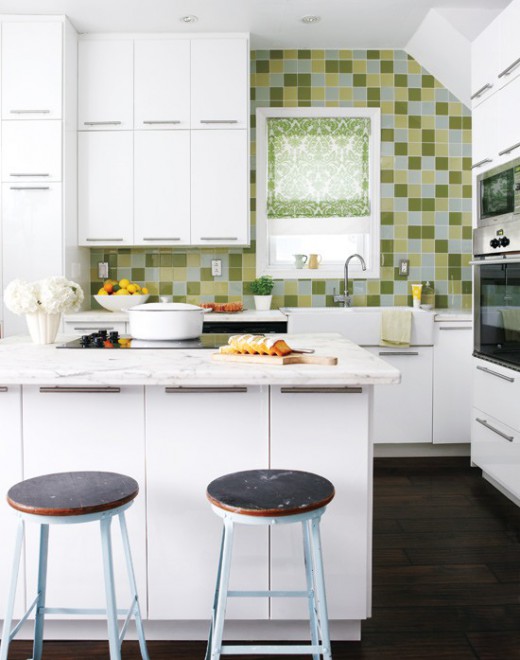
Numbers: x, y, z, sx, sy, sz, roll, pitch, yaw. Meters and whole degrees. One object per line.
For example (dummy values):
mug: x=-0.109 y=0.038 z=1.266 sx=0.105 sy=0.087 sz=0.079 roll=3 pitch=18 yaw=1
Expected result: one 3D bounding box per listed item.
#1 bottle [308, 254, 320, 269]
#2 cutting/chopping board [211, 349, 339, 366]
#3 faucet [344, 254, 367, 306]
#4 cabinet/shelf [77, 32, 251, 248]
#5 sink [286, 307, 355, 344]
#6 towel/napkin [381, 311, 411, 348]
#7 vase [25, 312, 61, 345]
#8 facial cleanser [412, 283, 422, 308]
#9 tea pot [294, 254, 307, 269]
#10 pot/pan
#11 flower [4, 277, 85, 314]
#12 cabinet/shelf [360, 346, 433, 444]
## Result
bottle: x=0.382 y=-0.482 z=4.414 sx=0.083 sy=0.106 sz=0.084 roll=0 pitch=4 yaw=0
cutting/chopping board: x=0.038 y=0.083 z=1.767 sx=0.360 sy=0.025 sz=0.114 roll=1 pitch=4 yaw=8
faucet: x=0.656 y=-0.350 z=4.316 sx=0.157 sy=0.375 sz=0.379 roll=1 pitch=4 yaw=9
cabinet/shelf: x=-0.606 y=-1.265 z=3.925 sx=1.358 sy=1.502 sz=0.583 roll=0 pitch=2 yaw=-1
sink: x=0.369 y=-0.025 z=3.744 sx=0.405 sy=0.164 sz=0.089 roll=0 pitch=4 yaw=5
towel/napkin: x=0.817 y=-0.004 z=3.703 sx=0.171 sy=0.211 sz=0.079 roll=3 pitch=1 yaw=7
vase: x=-0.804 y=-0.007 z=2.255 sx=0.121 sy=0.125 sz=0.118 roll=0 pitch=1 yaw=-2
facial cleanser: x=1.083 y=-0.234 z=4.293 sx=0.072 sy=0.161 sz=0.235 roll=1 pitch=4 yaw=14
tea pot: x=0.297 y=-0.482 z=4.414 sx=0.136 sy=0.106 sz=0.069 roll=-3 pitch=5 yaw=-40
pot/pan: x=-0.388 y=-0.039 z=2.520 sx=0.231 sy=0.108 sz=0.195 roll=0 pitch=6 yaw=4
flower: x=-0.762 y=-0.117 z=2.186 sx=0.233 sy=0.131 sz=0.187 roll=0 pitch=4 yaw=3
cabinet/shelf: x=0.833 y=0.395 z=3.766 sx=0.398 sy=0.580 sz=0.161 roll=-1 pitch=4 yaw=-18
